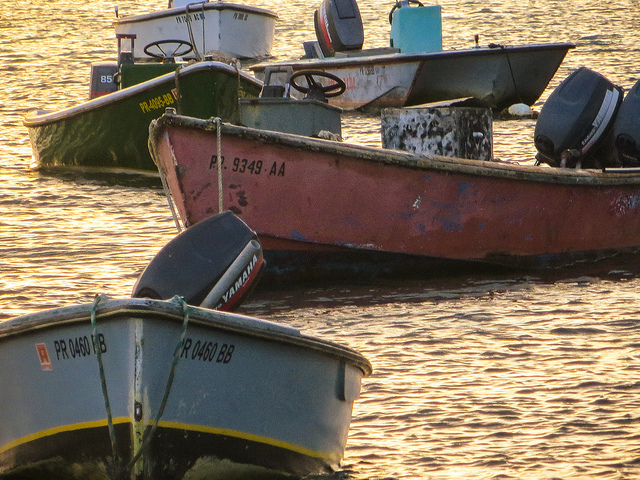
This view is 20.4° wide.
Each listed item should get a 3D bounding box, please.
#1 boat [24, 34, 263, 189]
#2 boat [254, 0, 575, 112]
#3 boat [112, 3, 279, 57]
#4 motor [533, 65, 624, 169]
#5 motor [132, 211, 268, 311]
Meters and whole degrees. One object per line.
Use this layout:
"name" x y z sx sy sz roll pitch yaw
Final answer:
"boat" -2.332 -1.614 24.436 2.601 2.027 4.668 3 -2 -39
"boat" 0.893 -2.460 26.958 5.580 1.965 2.122 3 6 33
"boat" -1.790 -3.591 31.141 1.845 0.593 2.667 8 5 44
"motor" 2.840 -1.338 19.950 0.902 1.191 0.920 11 22 41
"motor" -1.133 0.249 16.862 0.886 1.016 1.575 4 14 10
